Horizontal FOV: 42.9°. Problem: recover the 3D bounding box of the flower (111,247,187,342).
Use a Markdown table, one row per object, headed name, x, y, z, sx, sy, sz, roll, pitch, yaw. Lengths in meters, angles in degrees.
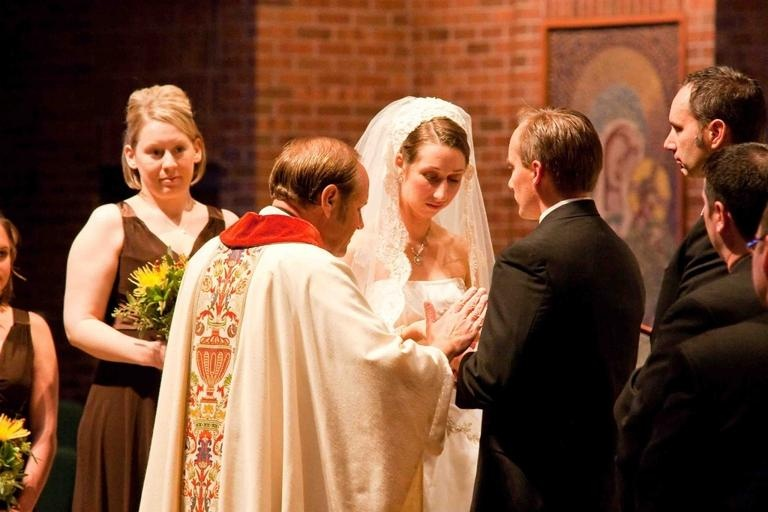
| name | x | y | z | sx | sy | sz | roll | pitch | yaw |
| --- | --- | --- | --- | --- | --- | --- | --- | --- | --- |
| flower | -1.067 | 0.181 | 4.670 | 0.266 | 0.306 | 0.282 | -42 | 8 | -18 |
